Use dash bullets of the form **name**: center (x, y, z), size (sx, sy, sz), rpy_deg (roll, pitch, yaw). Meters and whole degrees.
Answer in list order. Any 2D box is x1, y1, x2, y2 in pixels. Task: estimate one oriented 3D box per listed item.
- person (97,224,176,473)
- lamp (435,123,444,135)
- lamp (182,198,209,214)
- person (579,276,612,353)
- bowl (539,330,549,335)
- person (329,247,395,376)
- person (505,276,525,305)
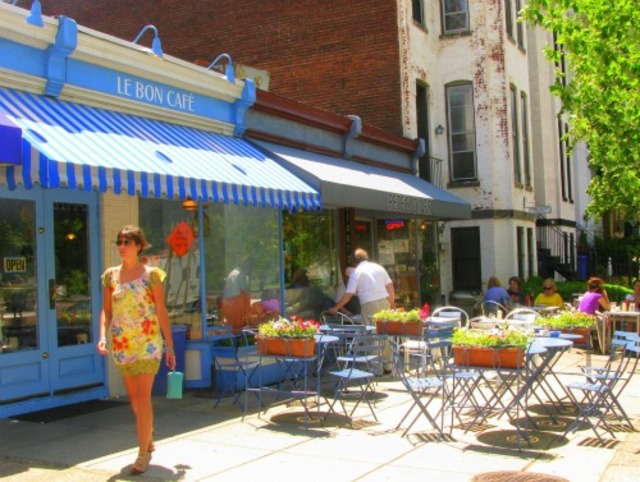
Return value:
- **person**: center (-2.138, 1.254, 9.338), size (0.840, 2.810, 0.556), rpy_deg (-2, 5, -12)
- **lamp**: center (3.228, -3.008, 21.783), size (0.194, 0.203, 0.264), rpy_deg (1, -8, -3)
- **lamp**: center (-2.037, -0.569, 13.146), size (0.441, 0.209, 0.214), rpy_deg (-2, 5, -16)
- **person**: center (5.335, 1.359, 15.554), size (0.795, 1.246, 0.507), rpy_deg (3, 6, -36)
- **bowl**: center (3.196, 1.326, 11.530), size (0.091, 0.072, 0.094), rpy_deg (-1, -7, 0)
- **person**: center (0.859, 1.186, 14.197), size (1.035, 2.084, 0.782), rpy_deg (-9, 7, -21)
- **person**: center (4.473, 1.173, 18.447), size (0.517, 0.913, 0.563), rpy_deg (-1, -7, 14)
